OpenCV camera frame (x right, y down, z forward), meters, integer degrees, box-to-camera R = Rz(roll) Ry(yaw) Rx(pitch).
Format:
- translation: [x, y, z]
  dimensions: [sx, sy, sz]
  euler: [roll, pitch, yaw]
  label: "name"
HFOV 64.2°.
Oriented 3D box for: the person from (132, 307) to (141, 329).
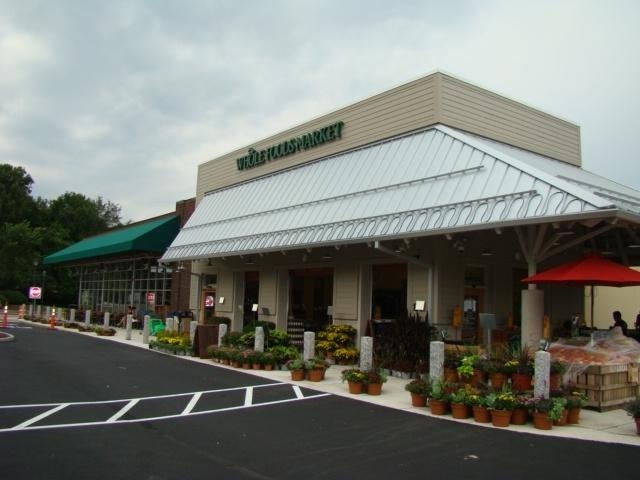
- translation: [-12.611, 5.413, 35.240]
  dimensions: [0.604, 1.363, 1.059]
  euler: [3, -6, -20]
  label: "person"
